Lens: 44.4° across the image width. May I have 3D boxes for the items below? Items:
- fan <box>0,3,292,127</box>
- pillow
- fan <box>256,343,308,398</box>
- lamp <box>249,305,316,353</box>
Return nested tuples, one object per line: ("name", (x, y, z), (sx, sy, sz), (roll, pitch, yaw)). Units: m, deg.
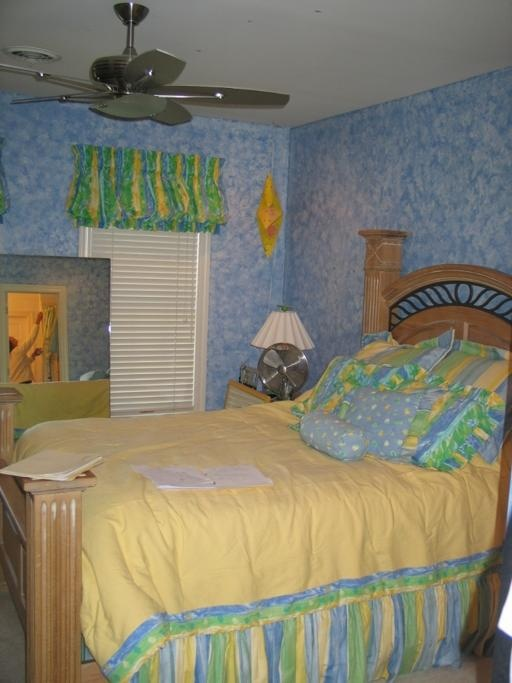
("fan", (-0.523, -1.268, 2.818), (0.902, 0.287, 0.820), (-4, 5, -43))
("pillow", (0.711, 0.264, 2.691), (0.688, 0.234, 0.685), (10, 34, 42))
("fan", (0.186, 0.205, 4.416), (0.392, 0.346, 0.385), (8, -1, 19))
("lamp", (0.200, -0.082, 4.322), (0.336, 0.173, 0.328), (-1, -1, 36))
